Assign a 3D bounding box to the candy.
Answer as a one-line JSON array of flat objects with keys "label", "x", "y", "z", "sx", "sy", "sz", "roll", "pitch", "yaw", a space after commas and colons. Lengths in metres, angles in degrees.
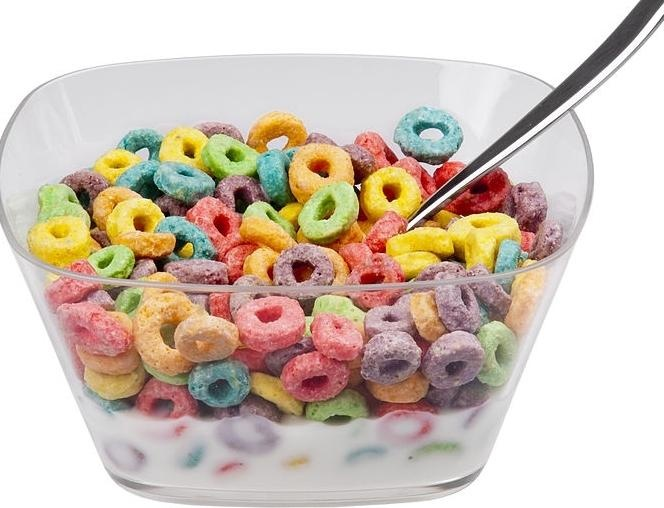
[{"label": "candy", "x": -0.139, "y": 0.035, "z": 1.827, "sx": 1.070, "sy": 0.932, "sz": 0.510, "roll": 0, "pitch": -2, "yaw": -9}]
